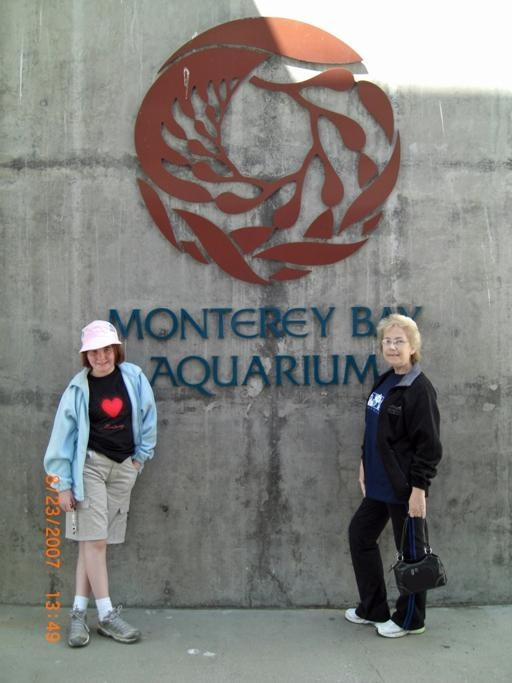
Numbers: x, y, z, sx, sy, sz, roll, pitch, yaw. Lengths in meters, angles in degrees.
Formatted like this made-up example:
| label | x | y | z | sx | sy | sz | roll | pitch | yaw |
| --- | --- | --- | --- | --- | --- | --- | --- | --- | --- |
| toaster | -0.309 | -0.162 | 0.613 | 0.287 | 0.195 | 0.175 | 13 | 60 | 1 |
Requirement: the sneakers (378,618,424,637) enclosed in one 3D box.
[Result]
| label | x | y | z | sx | sy | sz | roll | pitch | yaw |
| --- | --- | --- | --- | --- | --- | --- | --- | --- | --- |
| sneakers | 0.875 | 1.729 | 7.593 | 0.264 | 0.128 | 0.105 | 5 | -5 | -7 |

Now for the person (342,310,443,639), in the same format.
| label | x | y | z | sx | sy | sz | roll | pitch | yaw |
| --- | --- | --- | --- | --- | --- | --- | --- | --- | --- |
| person | 0.820 | 0.805 | 7.547 | 0.648 | 1.925 | 0.402 | -3 | -4 | 23 |

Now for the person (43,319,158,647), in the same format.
| label | x | y | z | sx | sy | sz | roll | pitch | yaw |
| --- | --- | --- | --- | --- | --- | --- | --- | --- | --- |
| person | -0.929 | 0.838 | 7.523 | 0.652 | 1.920 | 0.294 | -1 | -4 | -5 |

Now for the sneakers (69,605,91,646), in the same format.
| label | x | y | z | sx | sy | sz | roll | pitch | yaw |
| --- | --- | --- | --- | --- | --- | --- | --- | --- | --- |
| sneakers | -1.054 | 1.693 | 7.478 | 0.131 | 0.179 | 0.404 | 0 | -12 | -9 |

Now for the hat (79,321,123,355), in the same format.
| label | x | y | z | sx | sy | sz | roll | pitch | yaw |
| --- | --- | --- | --- | --- | --- | --- | --- | --- | --- |
| hat | -0.953 | -0.035 | 7.571 | 0.165 | 0.106 | 0.222 | -14 | -8 | -7 |

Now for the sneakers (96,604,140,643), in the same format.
| label | x | y | z | sx | sy | sz | roll | pitch | yaw |
| --- | --- | --- | --- | --- | --- | --- | --- | --- | --- |
| sneakers | -0.869 | 1.694 | 7.536 | 0.325 | 0.169 | 0.123 | 0 | -7 | 35 |

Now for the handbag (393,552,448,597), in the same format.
| label | x | y | z | sx | sy | sz | roll | pitch | yaw |
| --- | --- | --- | --- | --- | --- | --- | --- | --- | --- |
| handbag | 0.947 | 1.366 | 7.399 | 0.318 | 0.290 | 0.119 | -18 | -8 | 5 |
